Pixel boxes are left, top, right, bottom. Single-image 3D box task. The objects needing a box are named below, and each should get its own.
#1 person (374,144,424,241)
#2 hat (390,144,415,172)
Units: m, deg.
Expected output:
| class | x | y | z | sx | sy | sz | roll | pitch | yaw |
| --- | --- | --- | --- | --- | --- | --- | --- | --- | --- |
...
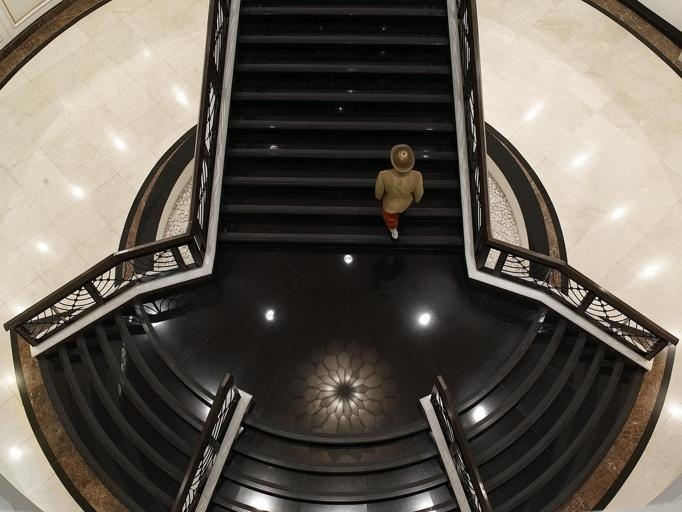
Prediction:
| class | x | y | z | sx | sy | sz | roll | pitch | yaw |
| --- | --- | --- | --- | --- | --- | --- | --- | --- | --- |
| person | 0.856 | -0.941 | 8.299 | 0.631 | 1.878 | 0.615 | -11 | 65 | -3 |
| hat | 0.850 | -1.370 | 7.700 | 0.298 | 0.244 | 0.463 | -6 | 81 | 2 |
